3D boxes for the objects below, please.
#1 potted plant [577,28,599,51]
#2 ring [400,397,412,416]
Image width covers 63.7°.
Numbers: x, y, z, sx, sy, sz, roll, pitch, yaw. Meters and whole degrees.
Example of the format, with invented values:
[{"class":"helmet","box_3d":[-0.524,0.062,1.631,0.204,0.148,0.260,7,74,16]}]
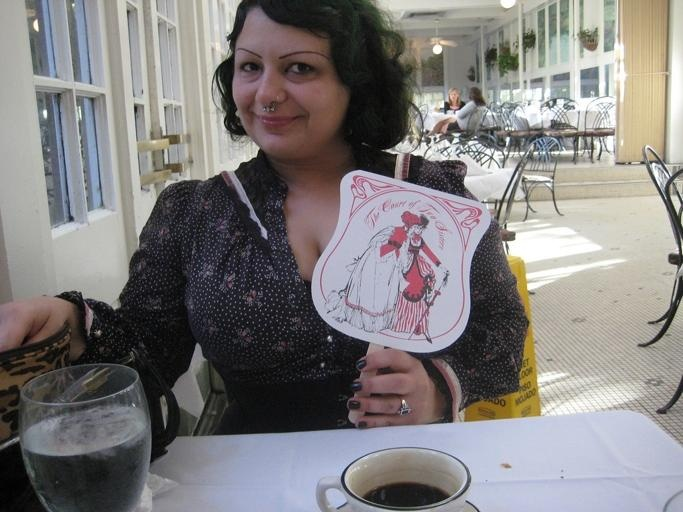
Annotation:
[{"class":"potted plant","box_3d":[4.406,-3.881,9.827,0.300,0.365,0.338,-2,0,4]},{"class":"ring","box_3d":[0.101,0.238,0.865,0.012,0.013,0.027,-4,56,-12]}]
